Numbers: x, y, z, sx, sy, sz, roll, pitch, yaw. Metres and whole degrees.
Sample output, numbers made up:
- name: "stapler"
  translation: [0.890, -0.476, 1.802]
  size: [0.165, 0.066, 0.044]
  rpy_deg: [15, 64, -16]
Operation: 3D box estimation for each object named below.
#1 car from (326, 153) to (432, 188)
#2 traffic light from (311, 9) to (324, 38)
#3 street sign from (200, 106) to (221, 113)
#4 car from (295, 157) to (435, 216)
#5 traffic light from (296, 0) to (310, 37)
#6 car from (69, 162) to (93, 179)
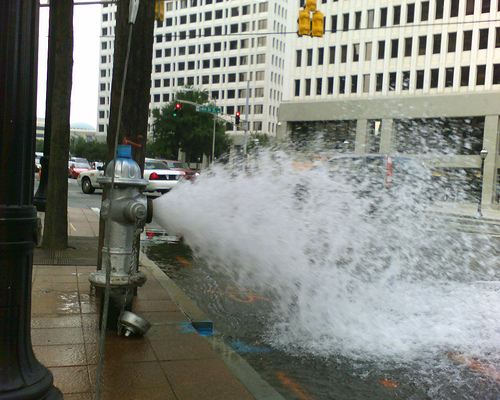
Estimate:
- name: "car"
  translation: [4.413, -0.902, 18.248]
  size: [2.265, 0.896, 2.627]
  rpy_deg: [3, 4, -35]
- name: "traffic light"
  translation: [1.949, -5.166, 16.634]
  size: [0.347, 0.835, 0.586]
  rpy_deg: [4, 5, 5]
- name: "street sign"
  translation: [-2.193, -4.975, 31.714]
  size: [0.817, 0.318, 1.870]
  rpy_deg: [6, 5, 11]
- name: "car"
  translation: [2.912, -0.287, 13.328]
  size: [2.449, 1.011, 2.846]
  rpy_deg: [2, -4, -3]
- name: "traffic light"
  translation: [1.586, -5.325, 16.754]
  size: [0.354, 1.171, 1.252]
  rpy_deg: [4, 5, 5]
- name: "car"
  translation: [-10.437, -1.968, 35.629]
  size: [1.311, 1.037, 2.959]
  rpy_deg: [0, 0, -30]
